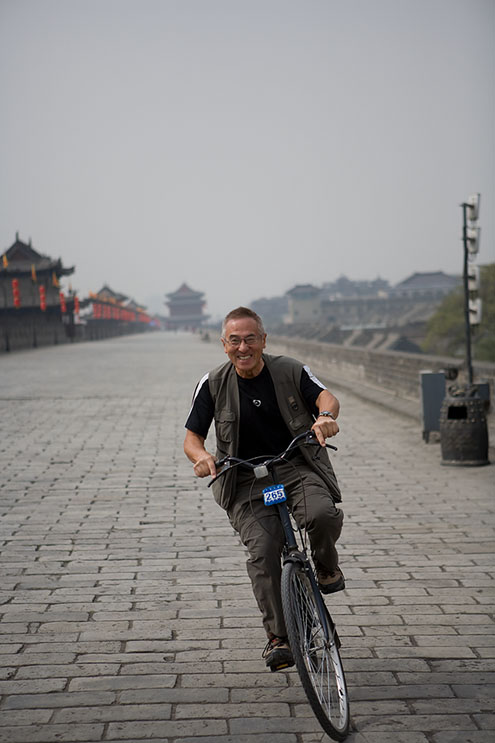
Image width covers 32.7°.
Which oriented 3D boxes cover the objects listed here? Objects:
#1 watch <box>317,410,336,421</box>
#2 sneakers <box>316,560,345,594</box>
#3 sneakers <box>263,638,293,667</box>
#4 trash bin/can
[{"bbox_3d":[0.300,0.168,3.199,0.064,0.028,0.109,0,3,4],"label":"watch"},{"bbox_3d":[0.326,0.822,3.373,0.071,0.084,0.203,-12,-22,0],"label":"sneakers"},{"bbox_3d":[0.105,0.968,2.919,0.059,0.079,0.147,-9,-29,-6],"label":"sneakers"},{"bbox_3d":[1.987,0.508,7.733,0.437,0.755,0.433,0,4,13],"label":"trash bin/can"}]
